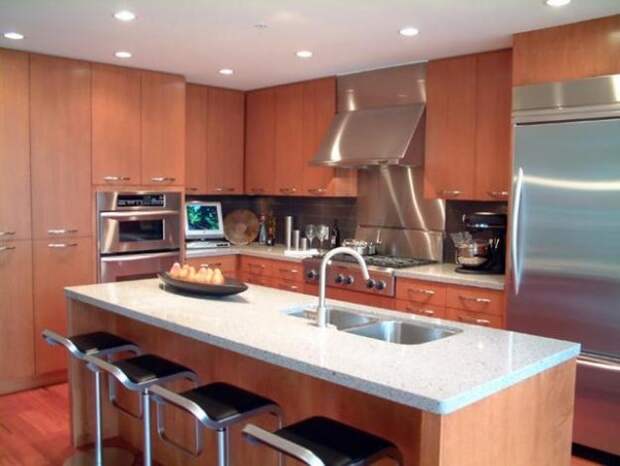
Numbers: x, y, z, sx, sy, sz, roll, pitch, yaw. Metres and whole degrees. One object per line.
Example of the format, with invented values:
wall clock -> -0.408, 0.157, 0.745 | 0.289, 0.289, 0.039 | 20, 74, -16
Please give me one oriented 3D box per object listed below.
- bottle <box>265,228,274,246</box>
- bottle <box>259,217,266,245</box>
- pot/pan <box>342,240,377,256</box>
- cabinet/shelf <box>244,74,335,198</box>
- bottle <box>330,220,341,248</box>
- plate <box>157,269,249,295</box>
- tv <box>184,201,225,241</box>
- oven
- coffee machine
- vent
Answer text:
bottle -> -0.489, 0.057, 5.675 | 0.088, 0.194, 0.233 | 0, 6, -9
bottle -> -0.587, -0.032, 5.764 | 0.082, 0.337, 0.109 | 0, 7, -6
pot/pan -> 0.520, 0.151, 4.723 | 0.242, 0.081, 0.180 | -2, 5, -28
cabinet/shelf -> -0.191, -1.071, 5.068 | 1.359, 1.157, 0.512 | 2, 5, 35
bottle -> 0.292, 0.013, 5.145 | 0.100, 0.308, 0.196 | 1, 6, 0
plate -> -0.703, 0.341, 2.994 | 0.683, 0.102, 0.277 | 3, 6, 22
tv -> -1.276, -0.133, 5.547 | 0.478, 0.430, 0.176 | 4, -16, -32
oven -> -1.610, 0.123, 4.869 | 0.883, 1.045, 0.650 | -3, -3, 7
coffee machine -> 1.285, 0.089, 3.991 | 0.588, 0.509, 0.376 | 1, 3, -1
vent -> 0.576, -1.113, 4.426 | 1.098, 0.833, 0.405 | 3, -1, 42
